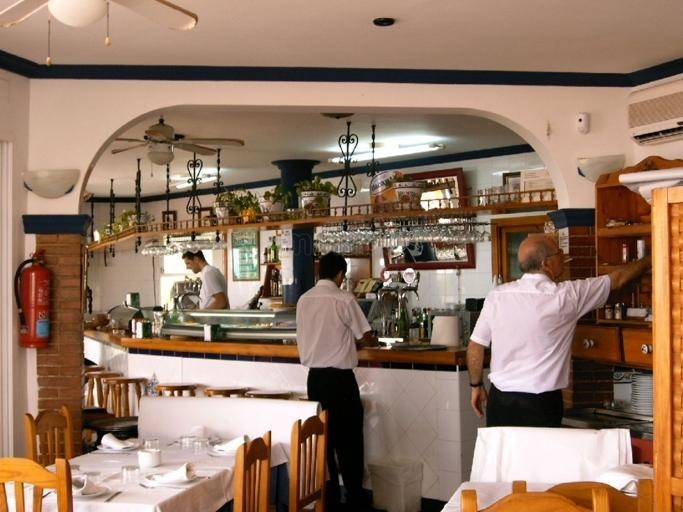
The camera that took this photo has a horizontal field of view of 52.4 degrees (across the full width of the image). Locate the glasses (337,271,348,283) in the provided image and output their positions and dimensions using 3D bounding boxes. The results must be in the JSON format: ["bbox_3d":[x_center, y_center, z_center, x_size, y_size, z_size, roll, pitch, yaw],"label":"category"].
[{"bbox_3d":[-0.011,0.178,5.508,0.078,0.093,0.102,-1,-1,5],"label":"glasses"}]

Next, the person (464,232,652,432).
[{"bbox_3d":[1.188,0.465,4.263,0.856,1.179,0.465,-3,-1,9],"label":"person"}]

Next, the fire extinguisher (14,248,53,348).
[{"bbox_3d":[-2.352,0.334,5.326,0.267,0.587,0.133,-3,-1,-25],"label":"fire extinguisher"}]

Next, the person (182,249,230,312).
[{"bbox_3d":[-1.542,0.273,8.074,0.423,0.595,0.799,-3,-1,-23],"label":"person"}]

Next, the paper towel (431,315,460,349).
[{"bbox_3d":[0.851,0.630,5.865,0.266,0.244,0.207,1,-1,1],"label":"paper towel"}]

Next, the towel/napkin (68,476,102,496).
[{"bbox_3d":[-1.283,1.153,3.472,0.111,0.046,0.112,16,-2,9],"label":"towel/napkin"}]

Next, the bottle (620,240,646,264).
[{"bbox_3d":[2.148,-0.023,5.157,0.061,0.149,0.176,-1,-5,41],"label":"bottle"}]

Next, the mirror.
[{"bbox_3d":[1.097,-0.501,8.430,1.355,1.316,0.304,-2,-4,19],"label":"mirror"}]

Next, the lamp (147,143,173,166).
[{"bbox_3d":[-1.789,-0.997,6.843,0.217,0.159,0.213,1,2,40],"label":"lamp"}]

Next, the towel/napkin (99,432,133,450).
[{"bbox_3d":[-1.369,1.132,4.227,0.115,0.045,0.117,2,-3,9],"label":"towel/napkin"}]
